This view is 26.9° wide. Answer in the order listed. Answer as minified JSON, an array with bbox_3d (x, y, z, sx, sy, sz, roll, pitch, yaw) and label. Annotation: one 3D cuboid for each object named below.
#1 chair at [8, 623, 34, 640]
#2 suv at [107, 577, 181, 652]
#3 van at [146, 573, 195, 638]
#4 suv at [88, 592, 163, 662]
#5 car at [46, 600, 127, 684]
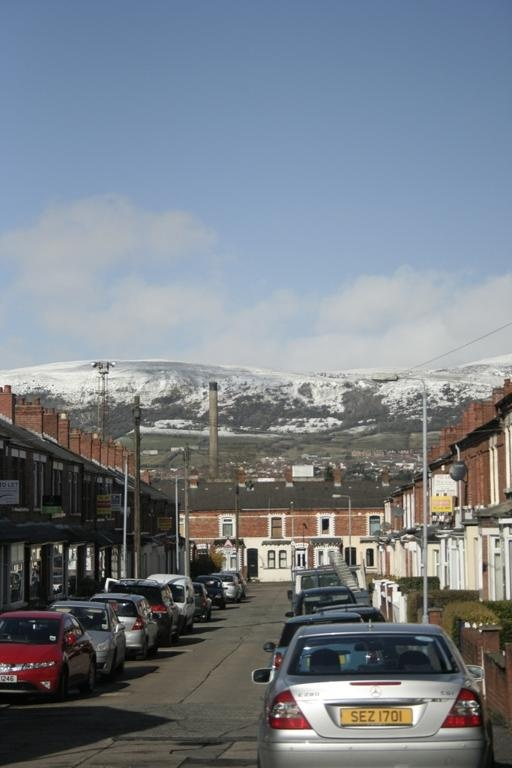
[{"bbox_3d":[-3.653,3.833,16.563,0.206,0.151,0.336,2,-2,-1],"label":"chair"},{"bbox_3d":[-3.041,6.176,29.754,1.424,1.445,2.624,0,1,7],"label":"suv"},{"bbox_3d":[-2.838,7.227,35.020,1.491,1.387,2.726,0,1,4],"label":"van"},{"bbox_3d":[-3.055,5.492,24.925,1.179,1.085,2.164,0,0,3],"label":"suv"},{"bbox_3d":[-3.034,4.683,20.045,1.054,0.830,1.940,-1,-15,0],"label":"car"}]
